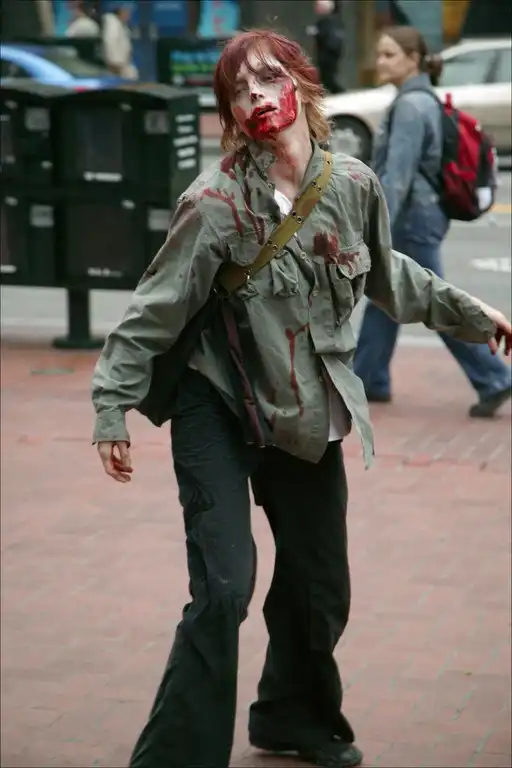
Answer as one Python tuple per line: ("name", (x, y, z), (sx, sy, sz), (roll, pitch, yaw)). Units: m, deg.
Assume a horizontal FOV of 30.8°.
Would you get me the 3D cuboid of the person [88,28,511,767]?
("person", (0.065, 0.125, 2.144), (0.728, 1.769, 0.954), (14, 27, 27))
